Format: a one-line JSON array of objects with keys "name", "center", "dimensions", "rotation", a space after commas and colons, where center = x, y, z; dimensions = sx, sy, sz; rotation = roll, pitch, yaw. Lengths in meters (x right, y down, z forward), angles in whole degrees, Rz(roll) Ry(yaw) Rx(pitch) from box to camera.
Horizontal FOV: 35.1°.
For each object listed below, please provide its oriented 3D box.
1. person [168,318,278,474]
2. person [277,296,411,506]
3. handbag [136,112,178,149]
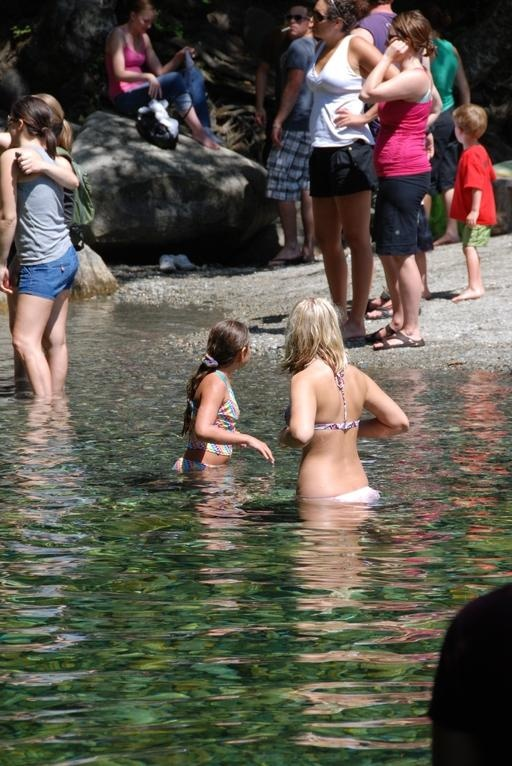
[{"name": "person", "center": [-0.199, 0.094, 5.069], "dimensions": [0.482, 1.047, 0.608], "rotation": [-14, 47, -17]}, {"name": "person", "center": [0.387, 0.075, 3.399], "dimensions": [0.538, 0.852, 0.459], "rotation": [0, 9, 2]}, {"name": "handbag", "center": [-1.844, -4.537, 14.639], "dimensions": [0.796, 0.430, 0.411], "rotation": [31, 35, -16]}]
